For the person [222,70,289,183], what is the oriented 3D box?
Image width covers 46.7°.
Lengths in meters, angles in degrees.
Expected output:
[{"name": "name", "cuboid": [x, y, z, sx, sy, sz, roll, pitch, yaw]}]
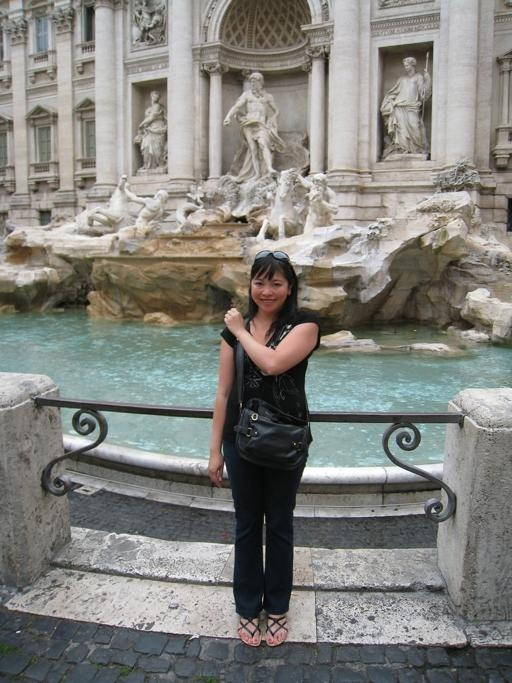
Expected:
[{"name": "person", "cuboid": [-0.014, -6.772, 18.670, 1.528, 3.326, 1.040, 3, 7, 17]}]

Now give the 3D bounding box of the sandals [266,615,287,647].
[{"name": "sandals", "cuboid": [0.071, 1.003, 2.069, 0.081, 0.064, 0.134, 1, 7, 2]}]

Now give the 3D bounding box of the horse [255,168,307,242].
[{"name": "horse", "cuboid": [0.725, -3.462, 15.426, 1.478, 2.124, 0.557, 8, -21, 22]}]

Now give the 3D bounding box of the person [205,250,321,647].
[{"name": "person", "cuboid": [0.029, 0.352, 2.122, 0.333, 1.343, 0.449, -2, 8, -23]}]

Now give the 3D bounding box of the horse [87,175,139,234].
[{"name": "horse", "cuboid": [-4.576, -4.156, 18.446, 1.311, 1.603, 0.739, 1, 7, 2]}]

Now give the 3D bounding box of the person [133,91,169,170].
[{"name": "person", "cuboid": [-3.801, -7.494, 21.283, 1.179, 2.718, 0.818, 0, 7, -1]}]

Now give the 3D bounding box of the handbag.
[{"name": "handbag", "cuboid": [0.055, 0.303, 1.945, 0.202, 0.180, 0.082, 23, -13, -3]}]
